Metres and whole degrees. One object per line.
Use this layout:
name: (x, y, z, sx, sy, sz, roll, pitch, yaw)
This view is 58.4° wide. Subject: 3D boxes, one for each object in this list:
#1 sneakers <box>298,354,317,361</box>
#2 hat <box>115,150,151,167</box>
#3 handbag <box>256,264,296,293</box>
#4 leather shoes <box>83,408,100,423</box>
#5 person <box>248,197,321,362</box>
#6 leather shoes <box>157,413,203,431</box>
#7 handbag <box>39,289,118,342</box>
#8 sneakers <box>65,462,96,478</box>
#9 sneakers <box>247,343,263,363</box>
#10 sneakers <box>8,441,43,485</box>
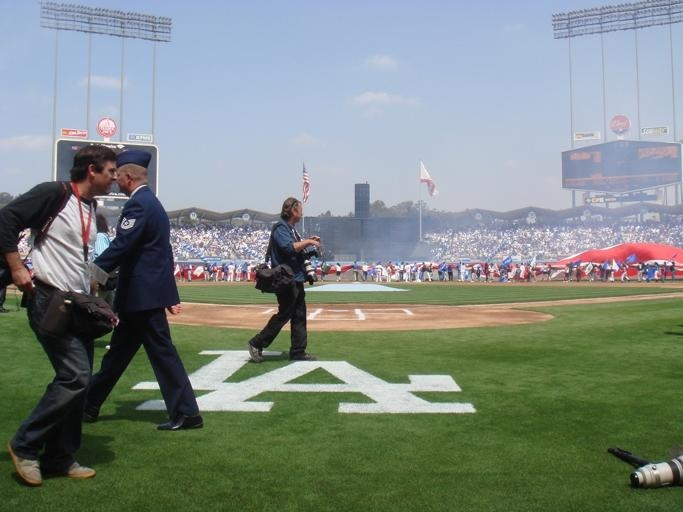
sneakers: (-0.487, 1.353, 8.223, 0.246, 0.093, 0.091, -1, -3, -3)
hat: (-1.927, -0.870, 5.582, 0.245, 0.096, 0.196, 1, 6, -13)
handbag: (-0.874, 0.276, 7.874, 0.452, 0.338, 0.214, -15, -32, -12)
leather shoes: (-2.299, 1.438, 5.536, 0.130, 0.114, 0.123, 15, -11, -27)
person: (-0.786, 0.345, 8.074, 0.908, 2.178, 1.249, -2, 4, -8)
leather shoes: (-1.492, 1.471, 5.481, 0.443, 0.157, 0.140, 4, -7, -5)
handbag: (-2.111, 0.444, 4.676, 0.615, 0.314, 0.548, 13, 5, -17)
sneakers: (-1.949, 1.561, 4.507, 0.253, 0.099, 0.087, 1, -2, 6)
sneakers: (-1.185, 1.290, 8.207, 0.156, 0.308, 0.120, -8, 7, 4)
sneakers: (-2.322, 1.489, 4.444, 0.206, 0.271, 0.299, -3, 4, -28)
